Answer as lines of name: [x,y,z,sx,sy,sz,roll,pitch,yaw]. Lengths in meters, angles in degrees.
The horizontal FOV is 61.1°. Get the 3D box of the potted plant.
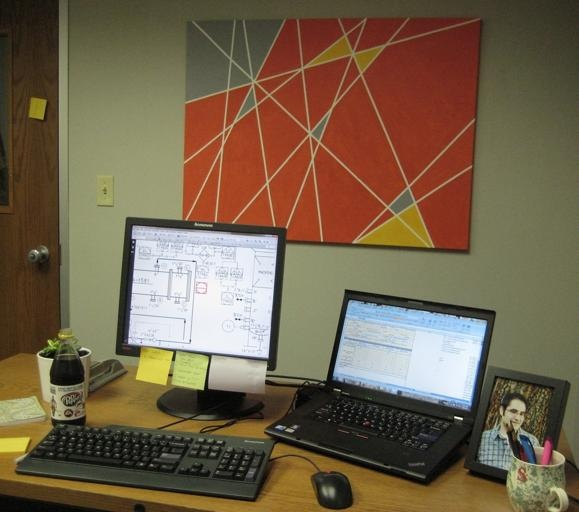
potted plant: [-0.640,0.310,1.390,0.150,0.144,0.180,1,0,-12]

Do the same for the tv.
tv: [-0.255,0.176,1.431,0.436,0.544,0.296,3,-11,-8]

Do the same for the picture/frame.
picture/frame: [0.486,0.373,1.074,0.185,0.278,0.035,10,-20,34]

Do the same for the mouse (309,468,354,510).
mouse: [0.088,0.470,0.990,0.085,0.044,0.076,2,5,-1]
